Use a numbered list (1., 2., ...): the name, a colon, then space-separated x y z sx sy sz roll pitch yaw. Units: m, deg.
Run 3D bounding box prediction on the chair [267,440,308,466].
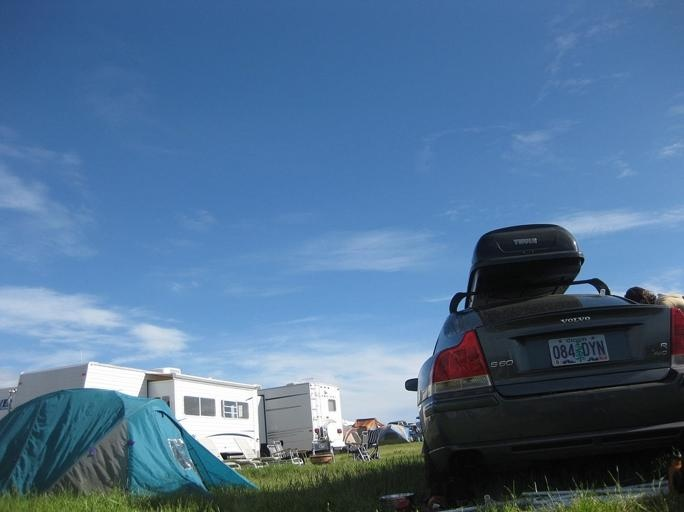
1. chair: -2.137 7.532 20.851 1.372 0.855 3.426 -2 -21 -8
